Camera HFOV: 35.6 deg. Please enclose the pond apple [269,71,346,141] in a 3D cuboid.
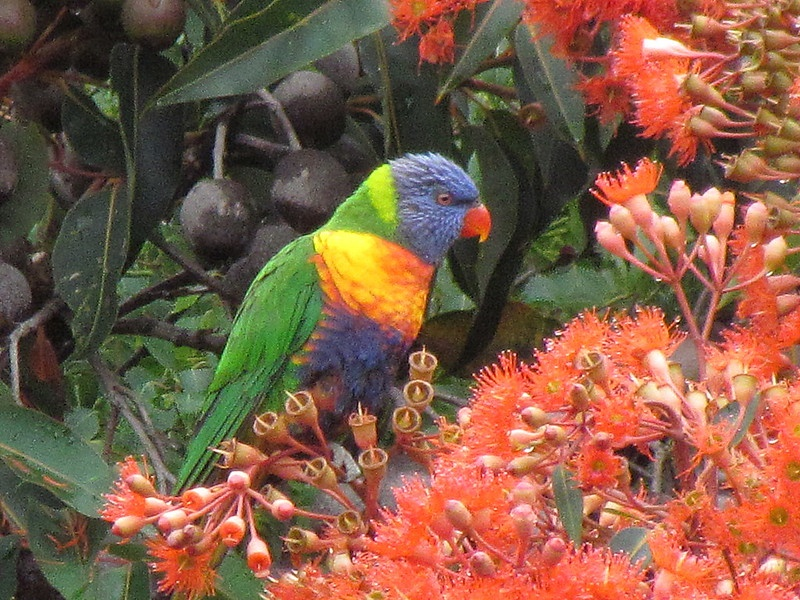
[{"bbox_3d":[-0.177,-0.396,2.488,0.098,0.135,0.152,-1,12,8],"label":"pond apple"}]
